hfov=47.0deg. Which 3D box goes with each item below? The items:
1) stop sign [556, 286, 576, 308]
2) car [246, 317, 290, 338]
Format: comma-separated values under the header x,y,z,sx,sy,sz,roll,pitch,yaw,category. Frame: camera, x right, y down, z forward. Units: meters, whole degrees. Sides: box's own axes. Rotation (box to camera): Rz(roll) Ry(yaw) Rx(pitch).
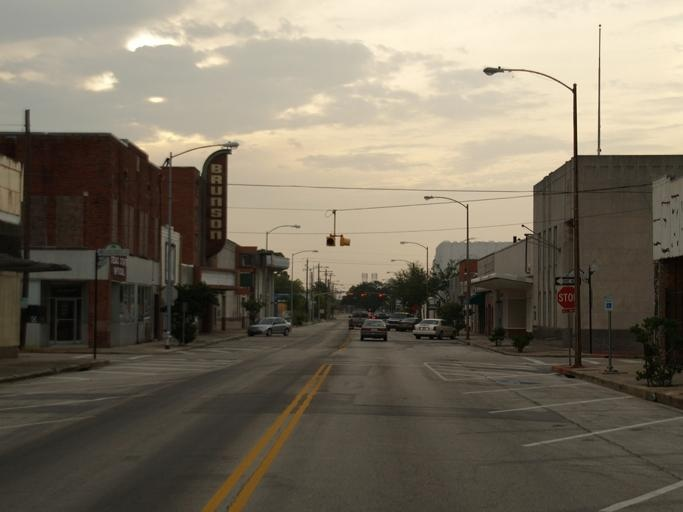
x,y,z,sx,sy,sz,roll,pitch,yaw,category
9.789,1.737,34.177,1.010,0.957,0.161,9,-8,-34,stop sign
-5.857,5.581,63.230,1.754,1.534,4.385,-4,-7,30,car
